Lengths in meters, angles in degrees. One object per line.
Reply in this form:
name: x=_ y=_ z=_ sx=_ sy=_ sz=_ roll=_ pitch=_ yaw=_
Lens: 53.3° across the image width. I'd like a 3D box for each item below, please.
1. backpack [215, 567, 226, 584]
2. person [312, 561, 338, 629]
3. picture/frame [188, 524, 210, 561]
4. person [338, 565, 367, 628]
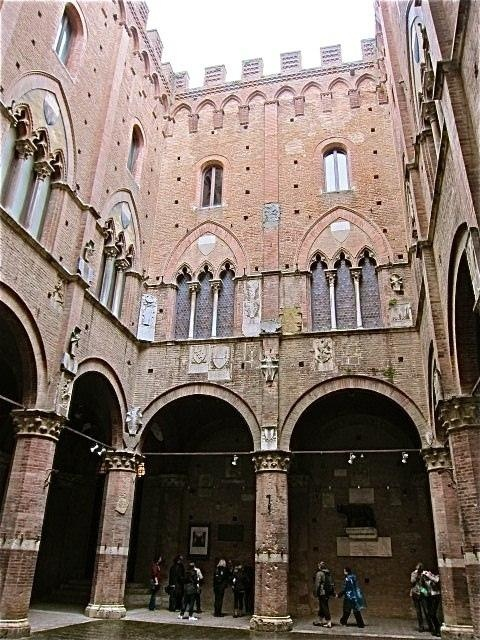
backpack: x=-0.475 y=6.030 z=11.333 sx=0.306 sy=0.355 sz=0.224 roll=-1 pitch=-25 yaw=6
person: x=1.825 y=6.009 z=10.570 sx=0.477 sy=1.218 sz=1.426 roll=-2 pitch=-26 yaw=8
picture/frame: x=-1.206 y=6.578 z=14.146 sx=0.863 sy=1.262 sz=0.088 roll=-7 pitch=-32 yaw=12
person: x=2.389 y=5.915 z=10.269 sx=0.449 sy=1.115 sz=0.884 roll=-4 pitch=-26 yaw=11
